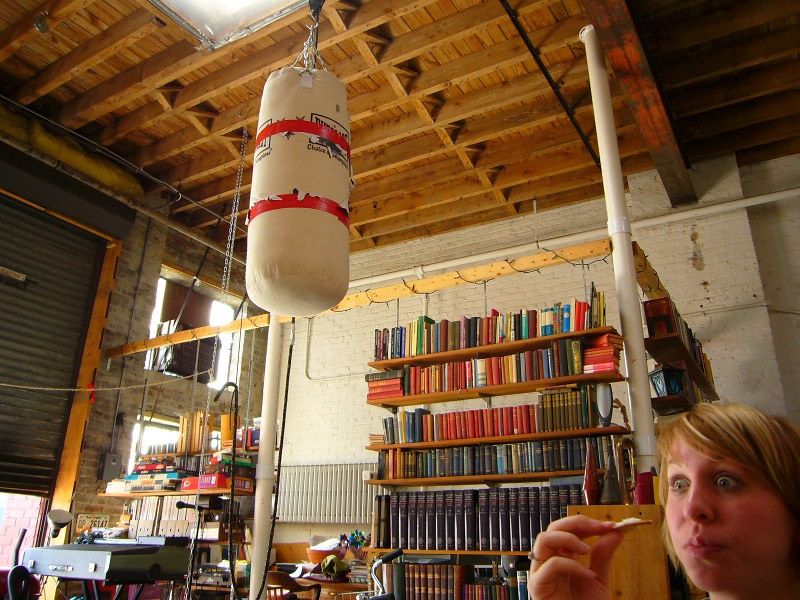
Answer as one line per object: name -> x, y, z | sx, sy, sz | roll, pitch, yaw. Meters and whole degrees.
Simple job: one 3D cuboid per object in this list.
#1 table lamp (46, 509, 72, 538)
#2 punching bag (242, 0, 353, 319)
table lamp -> -2.734, 1.797, 4.695 | 0.149, 0.204, 0.329 | 11, -25, -21
punching bag -> -0.506, -0.628, 3.055 | 0.518, 1.386, 0.539 | 2, -27, -4
